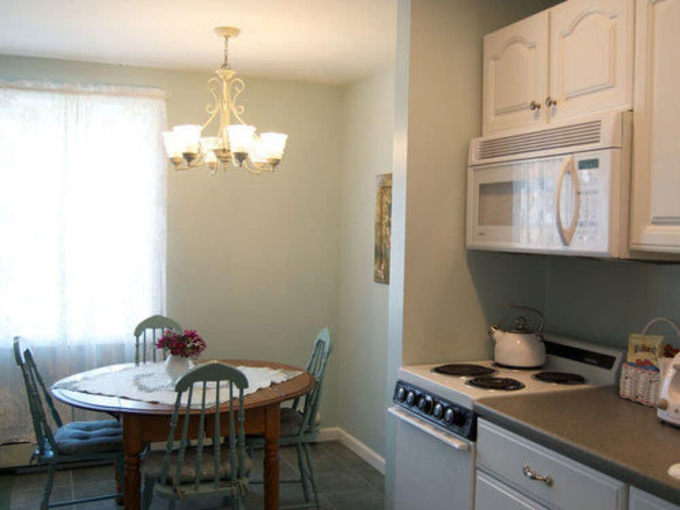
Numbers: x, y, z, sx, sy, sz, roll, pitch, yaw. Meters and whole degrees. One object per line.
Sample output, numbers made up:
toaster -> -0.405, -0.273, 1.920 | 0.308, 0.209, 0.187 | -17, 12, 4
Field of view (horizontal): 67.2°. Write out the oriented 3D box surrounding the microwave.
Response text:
microwave -> 0.917, -0.284, 2.295 | 0.487, 0.630, 0.885 | 1, -1, -25

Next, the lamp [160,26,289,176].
lamp -> -0.904, -1.169, 3.799 | 0.984, 1.016, 0.774 | 0, -4, -17

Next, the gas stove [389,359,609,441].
gas stove -> 0.704, 0.641, 2.454 | 0.587, 0.247, 0.440 | 3, -2, -22

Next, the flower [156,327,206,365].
flower -> -0.969, 0.535, 3.152 | 0.232, 0.171, 0.231 | 1, -1, -41

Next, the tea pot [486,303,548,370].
tea pot -> 0.972, 0.426, 2.769 | 0.329, 0.361, 0.267 | 3, 0, 25
